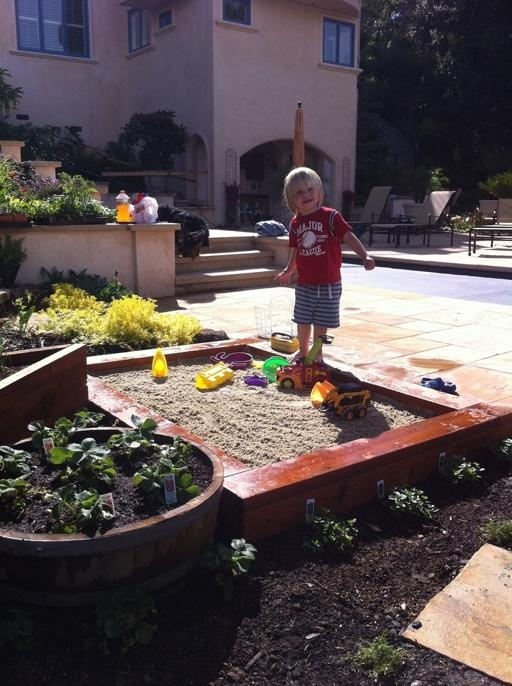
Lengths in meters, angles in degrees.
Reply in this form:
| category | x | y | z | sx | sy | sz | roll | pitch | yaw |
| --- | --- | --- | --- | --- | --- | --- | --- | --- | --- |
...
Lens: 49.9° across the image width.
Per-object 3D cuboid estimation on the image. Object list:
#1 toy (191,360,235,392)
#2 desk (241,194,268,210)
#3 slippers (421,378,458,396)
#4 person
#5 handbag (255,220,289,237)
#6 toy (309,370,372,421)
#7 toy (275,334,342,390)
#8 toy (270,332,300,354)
| category | x | y | z | sx | sy | sz | roll | pitch | yaw |
| --- | --- | --- | --- | --- | --- | --- | --- | --- | --- |
| toy | -0.243 | 0.189 | 3.103 | 0.160 | 0.094 | 0.343 | 3 | 9 | 15 |
| desk | -0.045 | -4.924 | 18.984 | 0.252 | 0.515 | 1.442 | 7 | 11 | 36 |
| slippers | 1.030 | 0.217 | 3.128 | 0.126 | 0.064 | 0.186 | -5 | 12 | -45 |
| person | 0.412 | -0.468 | 3.327 | 0.488 | 1.121 | 0.192 | 2 | 9 | 9 |
| handbag | 0.179 | -1.979 | 9.640 | 0.464 | 0.180 | 0.547 | -4 | 7 | -21 |
| toy | 0.418 | 0.262 | 2.654 | 0.243 | 0.119 | 0.174 | 1 | 14 | -4 |
| toy | 0.260 | 0.124 | 3.100 | 0.357 | 0.326 | 0.214 | 1 | 7 | -6 |
| toy | 0.215 | -0.004 | 3.766 | 0.129 | 0.061 | 0.161 | 12 | 15 | 33 |
